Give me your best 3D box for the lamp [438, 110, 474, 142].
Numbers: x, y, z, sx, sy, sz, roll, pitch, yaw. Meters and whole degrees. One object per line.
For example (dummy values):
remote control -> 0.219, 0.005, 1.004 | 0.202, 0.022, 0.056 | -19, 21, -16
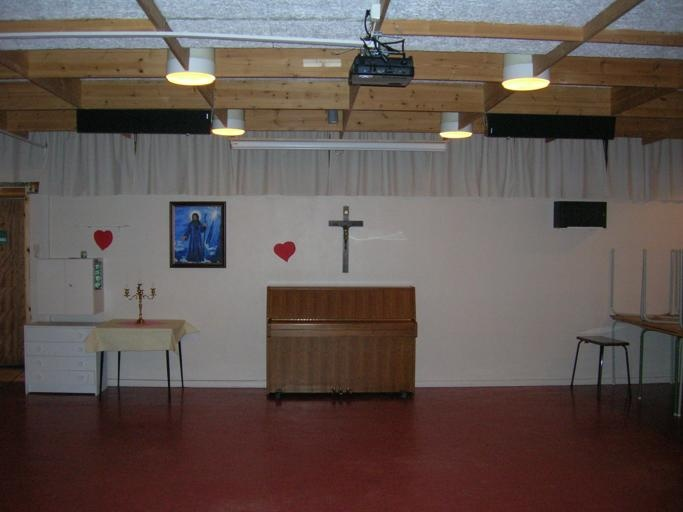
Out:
lamp -> 1.408, -1.608, 9.637 | 0.314, 0.256, 0.319 | 2, -1, -33

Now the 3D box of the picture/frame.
picture/frame -> -1.995, -0.297, 10.654 | 0.728, 0.888, 0.062 | -1, -3, -12

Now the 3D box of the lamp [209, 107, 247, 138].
lamp -> -1.455, -1.679, 9.558 | 0.522, 0.298, 0.283 | 4, -3, -42

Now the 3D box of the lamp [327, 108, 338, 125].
lamp -> -0.115, -1.769, 9.798 | 0.138, 0.167, 0.150 | 0, 4, 0

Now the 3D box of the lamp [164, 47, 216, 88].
lamp -> -1.586, -2.093, 8.118 | 0.561, 0.456, 0.578 | 2, 4, 34

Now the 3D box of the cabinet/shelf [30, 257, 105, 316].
cabinet/shelf -> -3.660, 0.400, 10.422 | 0.698, 0.728, 0.261 | 0, -3, 0

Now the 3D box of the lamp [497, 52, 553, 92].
lamp -> 1.927, -1.936, 8.076 | 0.468, 0.341, 0.268 | 2, -2, 11

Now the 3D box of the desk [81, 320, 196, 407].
desk -> -2.706, 1.383, 10.329 | 0.992, 0.792, 1.058 | 1, -2, -3

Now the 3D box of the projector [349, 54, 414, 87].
projector -> 0.377, -1.808, 7.487 | 0.605, 0.258, 0.230 | 2, -2, -5

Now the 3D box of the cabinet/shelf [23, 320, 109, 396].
cabinet/shelf -> -3.718, 1.341, 10.594 | 1.229, 1.353, 0.783 | 0, -1, -4

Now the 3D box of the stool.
stool -> 3.571, 1.544, 10.617 | 0.945, 0.960, 0.699 | 4, -5, -41
